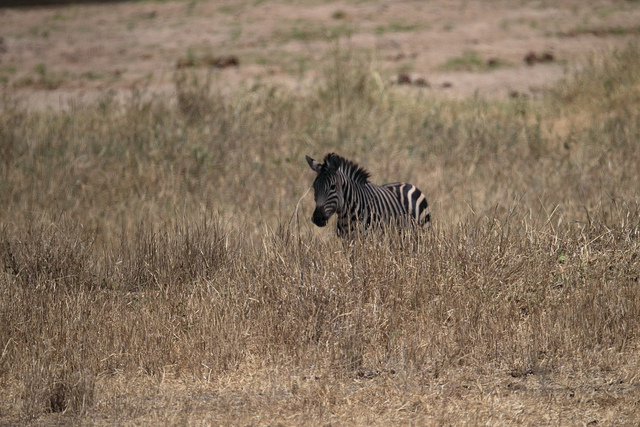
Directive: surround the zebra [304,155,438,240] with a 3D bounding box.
[{"bbox_3d":[1.105,-0.066,22.329,3.414,2.372,1.033,-1,2,-41],"label":"zebra"}]
